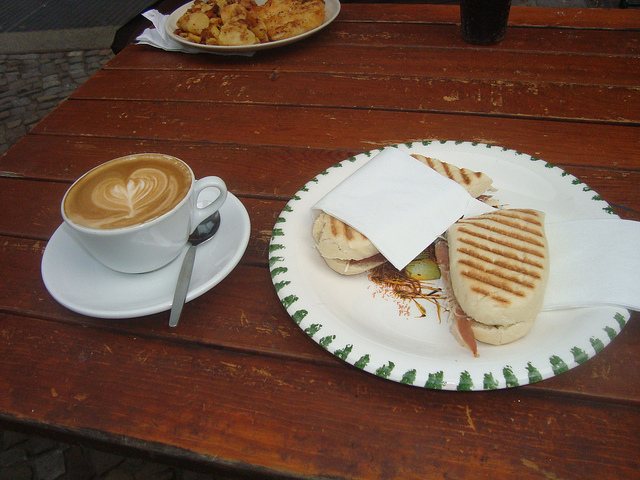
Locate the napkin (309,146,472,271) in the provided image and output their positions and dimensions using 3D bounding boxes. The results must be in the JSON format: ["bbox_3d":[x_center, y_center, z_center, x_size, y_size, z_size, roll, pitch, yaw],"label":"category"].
[{"bbox_3d":[0.209,-0.086,1.353,0.296,0.075,0.313,40,74,20],"label":"napkin"}]

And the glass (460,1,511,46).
[{"bbox_3d":[0.604,-0.804,2.006,0.182,0.168,0.172,7,28,17],"label":"glass"}]

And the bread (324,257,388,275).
[{"bbox_3d":[0.082,0.067,1.334,0.082,0.019,0.062,-5,23,-2],"label":"bread"}]

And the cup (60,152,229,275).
[{"bbox_3d":[-0.412,-0.088,1.403,0.378,0.205,0.302,-12,48,-10],"label":"cup"}]

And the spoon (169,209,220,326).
[{"bbox_3d":[-0.321,0.063,1.398,0.069,0.038,0.327,5,49,11],"label":"spoon"}]
